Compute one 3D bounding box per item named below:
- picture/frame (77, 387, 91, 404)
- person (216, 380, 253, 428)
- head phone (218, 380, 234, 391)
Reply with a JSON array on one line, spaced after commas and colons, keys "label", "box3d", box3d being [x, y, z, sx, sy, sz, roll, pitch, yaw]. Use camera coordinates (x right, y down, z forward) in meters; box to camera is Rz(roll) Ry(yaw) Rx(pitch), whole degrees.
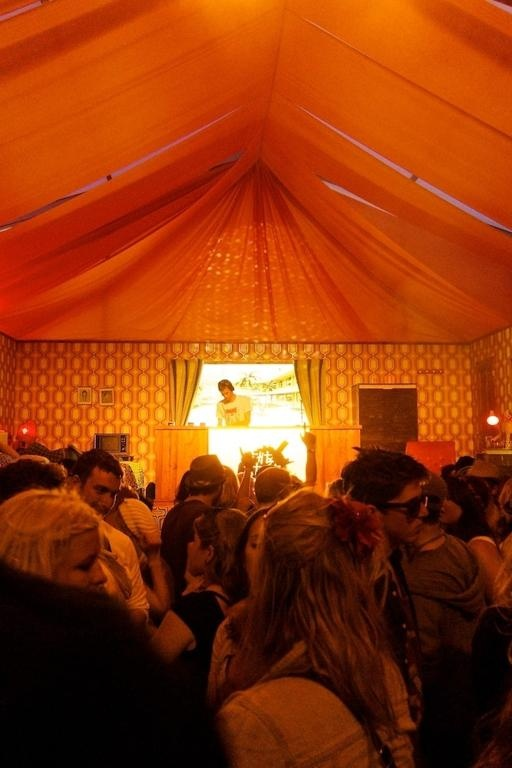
[{"label": "picture/frame", "box3d": [-3.017, 0.210, 11.173, 0.307, 0.391, 0.033, 2, -14, -13]}, {"label": "person", "box3d": [-0.337, 0.291, 9.708, 0.487, 0.670, 0.752, 5, -5, -5]}, {"label": "head phone", "box3d": [-0.444, 0.023, 9.524, 0.162, 0.210, 0.144, -27, 24, -14]}]
